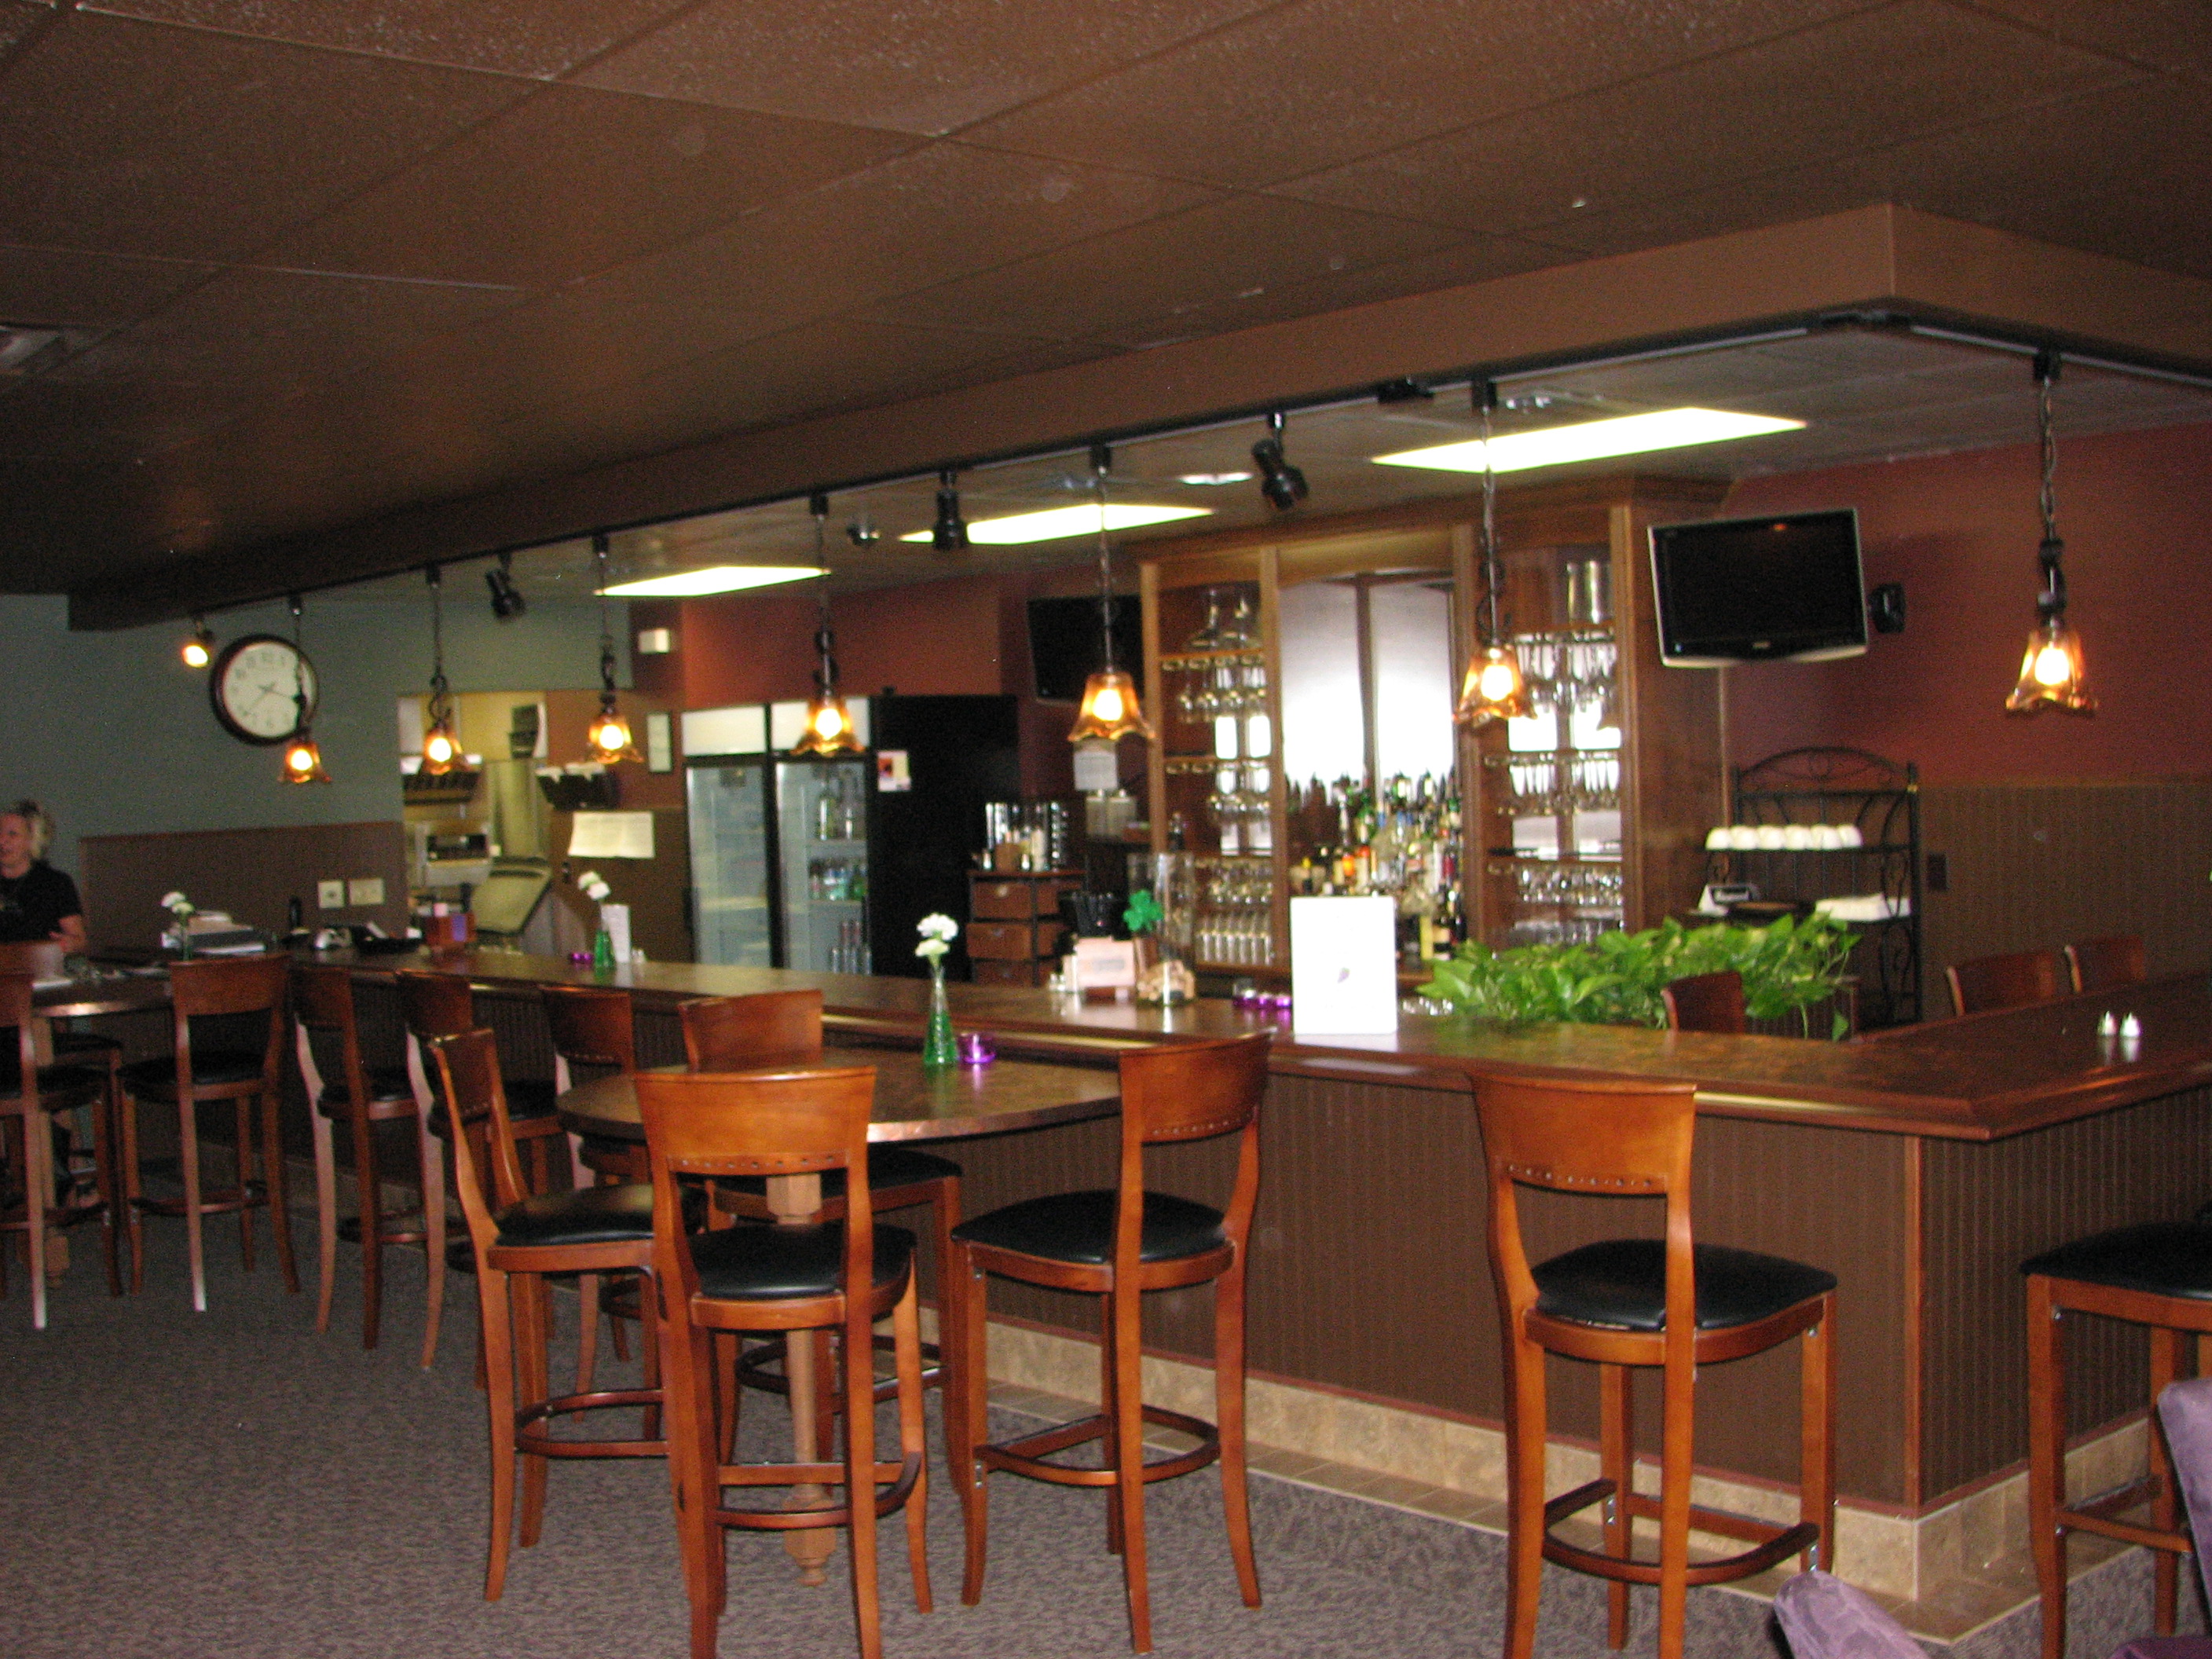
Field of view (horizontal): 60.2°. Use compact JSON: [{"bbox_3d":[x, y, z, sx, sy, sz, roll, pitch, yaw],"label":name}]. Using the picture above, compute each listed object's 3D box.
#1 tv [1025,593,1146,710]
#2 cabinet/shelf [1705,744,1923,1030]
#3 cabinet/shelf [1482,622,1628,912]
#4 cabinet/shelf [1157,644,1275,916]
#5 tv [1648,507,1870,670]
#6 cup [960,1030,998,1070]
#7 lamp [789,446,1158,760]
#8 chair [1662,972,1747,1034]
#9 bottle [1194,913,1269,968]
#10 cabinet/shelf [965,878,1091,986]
[{"bbox_3d":[-0.100,-0.936,9.816,1.078,0.730,0.149,5,9,38],"label":"tv"},{"bbox_3d":[3.281,0.432,8.874,0.472,1.597,0.859,-15,10,-39],"label":"cabinet/shelf"},{"bbox_3d":[2.079,-0.174,8.913,0.723,1.753,0.249,1,-1,-20],"label":"cabinet/shelf"},{"bbox_3d":[0.636,-0.331,9.733,0.544,1.247,0.183,-2,1,27],"label":"cabinet/shelf"},{"bbox_3d":[2.840,-1.052,8.329,0.758,0.528,0.074,-3,-1,19],"label":"tv"},{"bbox_3d":[-0.364,0.625,5.363,0.089,0.081,0.086,2,3,0],"label":"cup"},{"bbox_3d":[-0.606,-1.116,9.625,1.363,1.163,0.343,-2,-2,14],"label":"lamp"},{"bbox_3d":[1.770,0.512,5.649,0.190,0.253,0.231,0,-5,-6],"label":"chair"},{"bbox_3d":[0.633,0.550,9.464,0.313,0.185,0.076,-1,-3,44],"label":"bottle"},{"bbox_3d":[-0.453,0.627,11.083,0.575,0.705,0.593,-2,1,-39],"label":"cabinet/shelf"}]
